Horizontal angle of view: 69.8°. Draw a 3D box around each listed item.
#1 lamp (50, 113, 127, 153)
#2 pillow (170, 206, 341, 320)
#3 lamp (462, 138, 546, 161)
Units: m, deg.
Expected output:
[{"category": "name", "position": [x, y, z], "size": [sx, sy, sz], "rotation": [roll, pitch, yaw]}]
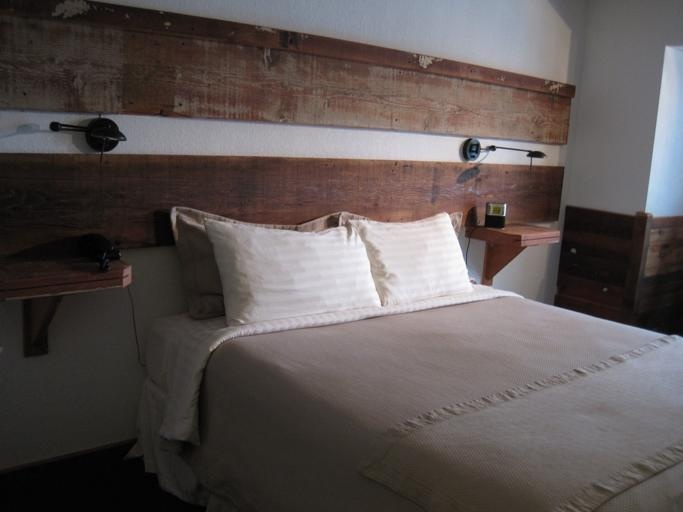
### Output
[{"category": "lamp", "position": [-1.095, -0.534, 2.139], "size": [0.310, 0.159, 0.229], "rotation": [-7, 15, -30]}, {"category": "pillow", "position": [-0.441, 0.053, 2.358], "size": [0.559, 0.357, 0.116], "rotation": [-4, 8, -26]}, {"category": "lamp", "position": [1.152, -0.776, 3.539], "size": [0.520, 0.153, 0.157], "rotation": [10, 7, 20]}]
